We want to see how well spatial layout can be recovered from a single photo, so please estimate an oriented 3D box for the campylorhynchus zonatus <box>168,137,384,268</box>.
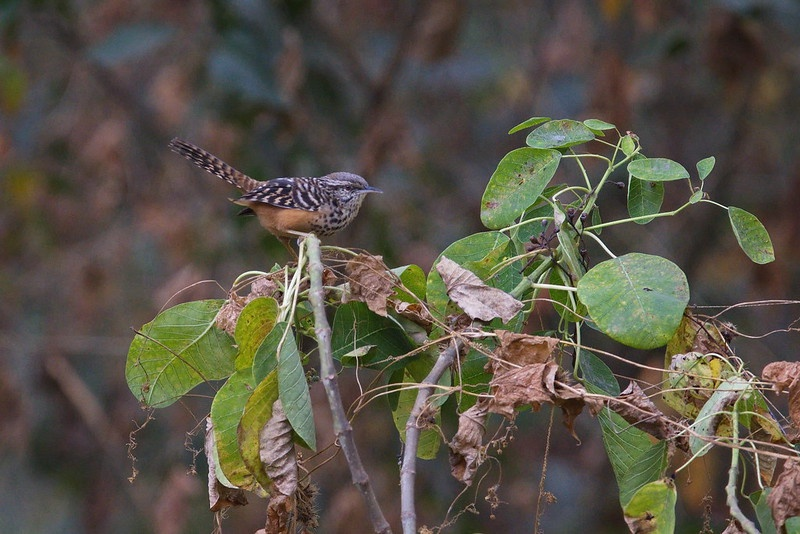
[{"bbox_3d":[-0.808,-0.444,6.890,1.431,0.404,0.668,13,67,0],"label":"campylorhynchus zonatus"}]
